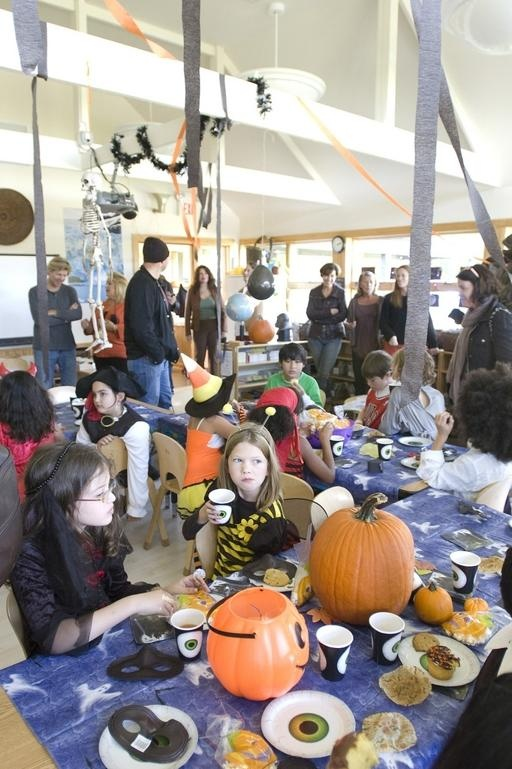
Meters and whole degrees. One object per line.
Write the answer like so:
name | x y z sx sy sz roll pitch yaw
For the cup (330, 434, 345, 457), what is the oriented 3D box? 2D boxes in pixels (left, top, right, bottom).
cup | 0.343 0.267 2.382 0.075 0.085 0.080 -1 6 0

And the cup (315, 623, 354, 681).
cup | 0.124 0.448 0.930 0.072 0.077 0.076 0 3 0

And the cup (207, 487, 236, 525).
cup | -0.082 0.299 1.350 0.077 0.084 0.080 0 0 0

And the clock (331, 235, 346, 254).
clock | 1.070 -1.845 7.226 0.057 0.223 0.220 -8 15 -36

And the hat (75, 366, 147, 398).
hat | -0.722 -0.010 2.799 0.221 0.105 0.226 7 1 -1

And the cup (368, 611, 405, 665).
cup | 0.220 0.446 0.981 0.073 0.079 0.075 1 4 0

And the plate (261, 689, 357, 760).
plate | 0.074 0.503 0.816 0.134 0.021 0.123 -7 15 -36

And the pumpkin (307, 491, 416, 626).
pumpkin | 0.190 0.332 1.173 0.240 0.338 0.246 0 4 -8

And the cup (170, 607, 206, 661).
cup | -0.123 0.469 1.024 0.066 0.068 0.067 0 4 0

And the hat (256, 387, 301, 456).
hat | 0.097 0.119 2.252 0.173 0.254 0.248 2 3 3

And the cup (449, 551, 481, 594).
cup | 0.441 0.403 1.186 0.073 0.082 0.077 0 2 0

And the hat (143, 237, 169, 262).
hat | -0.623 -0.829 3.375 0.140 0.161 0.191 -1 12 -11
